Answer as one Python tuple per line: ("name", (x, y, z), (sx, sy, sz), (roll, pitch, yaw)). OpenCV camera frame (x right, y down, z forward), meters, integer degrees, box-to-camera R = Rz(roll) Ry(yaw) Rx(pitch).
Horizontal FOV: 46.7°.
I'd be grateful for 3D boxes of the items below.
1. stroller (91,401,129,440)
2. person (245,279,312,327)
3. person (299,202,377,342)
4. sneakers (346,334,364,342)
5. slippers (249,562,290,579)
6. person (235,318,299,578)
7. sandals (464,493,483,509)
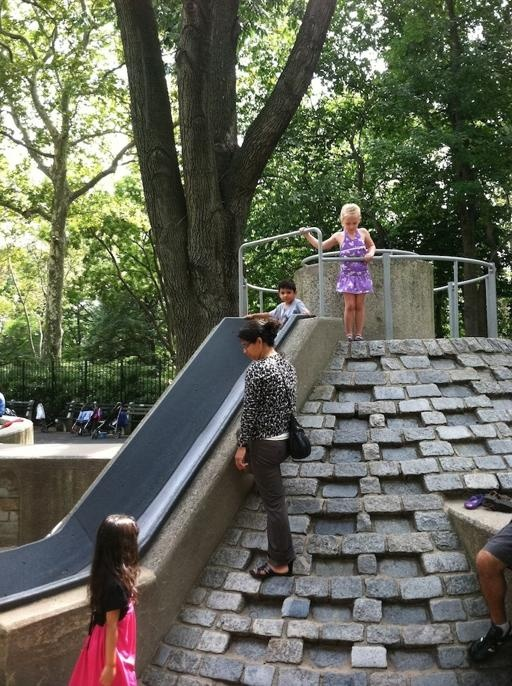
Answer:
("stroller", (-4.188, 2.263, 17.171), (1.168, 1.129, 0.760), (-1, -9, 8))
("person", (0.232, -0.215, 5.660), (0.551, 0.779, 0.493), (2, -5, -13))
("person", (0.854, -0.729, 5.817), (0.614, 1.398, 0.851), (-2, 2, 10))
("sneakers", (0.937, -0.051, 5.656), (0.149, 0.058, 0.148), (-2, 2, 7))
("slippers", (0.086, 1.461, 3.782), (0.264, 0.086, 0.097), (2, 0, -1))
("person", (0.069, 0.676, 3.866), (0.373, 1.649, 0.356), (-2, 2, 6))
("sandals", (1.471, 1.066, 3.996), (0.065, 0.043, 0.142), (4, 32, 44))
